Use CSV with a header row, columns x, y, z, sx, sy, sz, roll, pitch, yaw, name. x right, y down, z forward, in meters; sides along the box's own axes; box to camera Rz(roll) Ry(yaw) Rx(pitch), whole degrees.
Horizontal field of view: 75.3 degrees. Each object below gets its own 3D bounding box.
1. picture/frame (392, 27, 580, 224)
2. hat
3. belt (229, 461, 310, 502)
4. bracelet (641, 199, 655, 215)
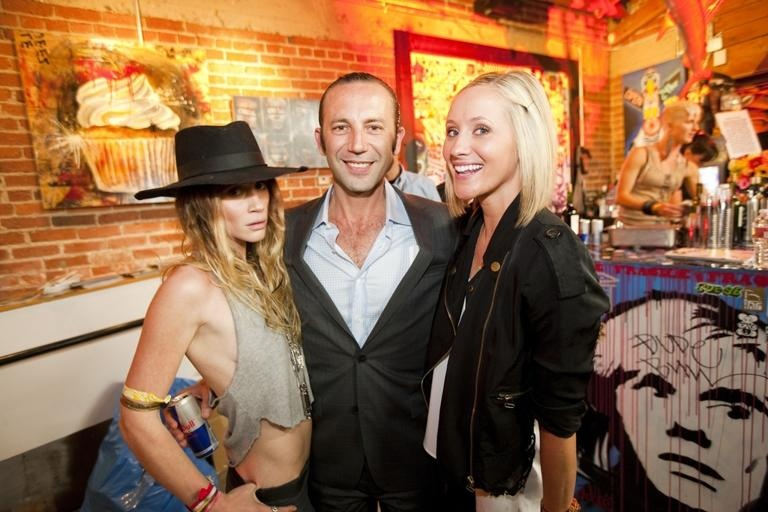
x,y,z,sx,sy,sz,roll,pitch,yaw,name
1.477,-1.742,6.867,3.269,2.203,0.128,-5,4,-28,picture/frame
-0.978,-0.522,2.794,0.620,0.231,0.554,-12,6,11,hat
-0.632,1.326,2.827,0.272,0.163,0.262,2,3,-32,belt
3.135,-0.574,5.908,0.140,0.145,0.174,-32,21,-22,bracelet
